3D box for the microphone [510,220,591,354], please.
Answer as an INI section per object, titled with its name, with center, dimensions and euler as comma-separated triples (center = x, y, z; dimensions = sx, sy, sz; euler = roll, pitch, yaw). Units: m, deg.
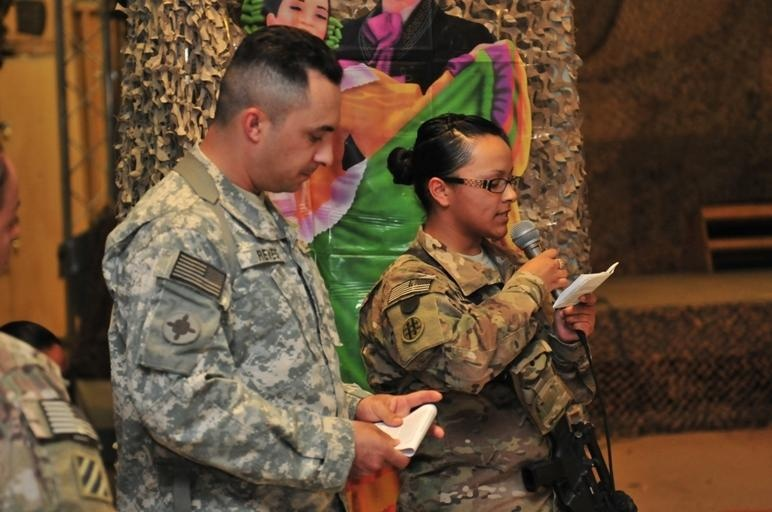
[microphone]
center = 0.724, 0.049, 4.048
dimensions = 0.139, 0.126, 0.638
euler = -11, 29, -10
